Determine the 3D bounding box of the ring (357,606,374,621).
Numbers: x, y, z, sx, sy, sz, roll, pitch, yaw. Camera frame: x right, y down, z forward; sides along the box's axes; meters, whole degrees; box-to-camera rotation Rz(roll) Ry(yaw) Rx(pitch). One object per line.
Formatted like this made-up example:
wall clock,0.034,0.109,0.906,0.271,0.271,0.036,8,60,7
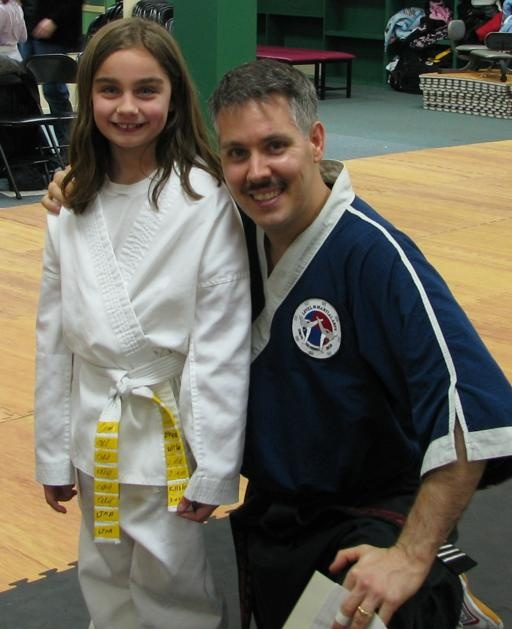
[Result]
ring,0.126,0.348,0.671,0.015,0.005,0.012,33,-1,21
